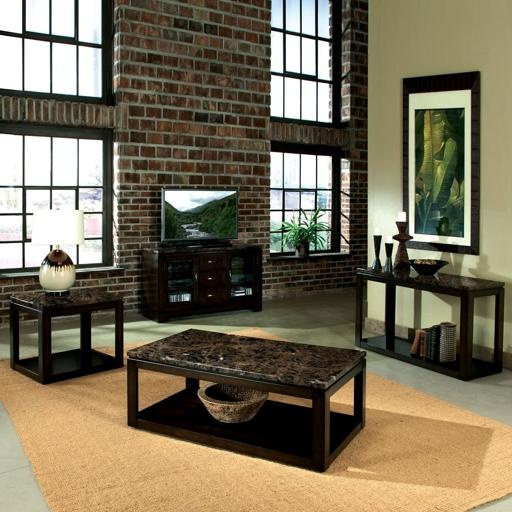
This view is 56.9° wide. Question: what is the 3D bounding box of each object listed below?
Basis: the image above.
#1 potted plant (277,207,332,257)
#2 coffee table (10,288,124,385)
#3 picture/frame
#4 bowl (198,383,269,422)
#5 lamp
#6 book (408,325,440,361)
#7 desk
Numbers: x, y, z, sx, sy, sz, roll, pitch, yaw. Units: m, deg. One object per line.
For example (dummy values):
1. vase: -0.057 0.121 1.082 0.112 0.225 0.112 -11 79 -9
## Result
1. potted plant: 0.646 -0.364 7.008 0.770 0.590 0.716 0 6 -17
2. coffee table: -1.474 0.518 3.614 0.703 0.558 0.719 -3 4 -43
3. picture/frame: 1.561 -0.814 4.076 0.044 1.570 0.770 -3 5 -34
4. bowl: -0.125 0.768 2.451 0.353 0.117 0.347 2 3 0
5. lamp: -1.505 -0.027 3.611 0.405 0.654 0.339 0 4 2
6. book: 1.356 0.699 3.795 0.060 0.244 0.259 3 0 33
7. desk: 1.420 0.548 3.805 0.274 0.445 0.825 -4 6 -34
